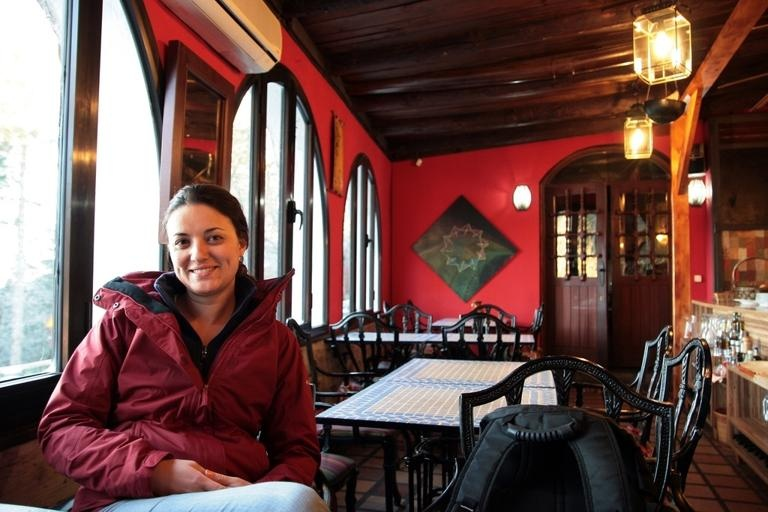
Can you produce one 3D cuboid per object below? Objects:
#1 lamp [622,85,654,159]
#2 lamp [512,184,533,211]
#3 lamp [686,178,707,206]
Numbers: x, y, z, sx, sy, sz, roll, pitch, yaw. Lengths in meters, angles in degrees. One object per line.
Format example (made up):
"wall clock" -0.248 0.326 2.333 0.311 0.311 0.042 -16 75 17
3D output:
"lamp" 2.353 -1.198 5.178 0.224 0.537 0.464 -1 -1 23
"lamp" 1.923 -0.835 7.802 0.191 0.364 0.207 1 -2 -38
"lamp" 3.928 -0.815 7.042 0.163 0.378 0.314 -1 -2 28
